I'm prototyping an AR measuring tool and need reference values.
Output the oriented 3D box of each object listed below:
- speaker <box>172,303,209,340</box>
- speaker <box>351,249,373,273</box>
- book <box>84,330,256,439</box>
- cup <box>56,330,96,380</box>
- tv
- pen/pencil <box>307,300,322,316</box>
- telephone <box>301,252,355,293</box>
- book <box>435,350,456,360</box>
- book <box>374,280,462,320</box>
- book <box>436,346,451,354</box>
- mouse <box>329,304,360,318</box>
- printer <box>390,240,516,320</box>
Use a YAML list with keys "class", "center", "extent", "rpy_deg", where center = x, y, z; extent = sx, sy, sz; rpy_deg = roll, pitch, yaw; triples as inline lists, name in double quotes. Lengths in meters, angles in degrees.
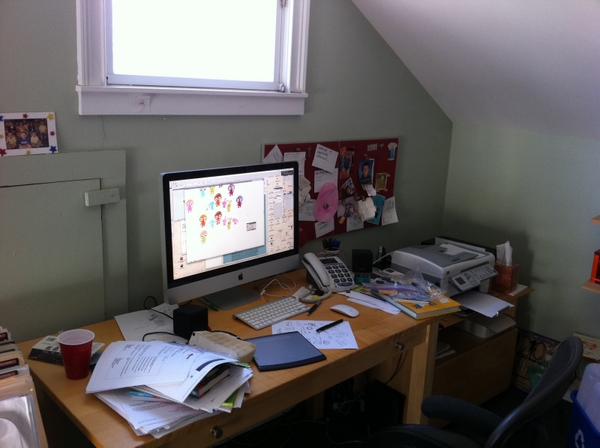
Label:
- class: "speaker"
  center: [-0.418, 0.363, 1.734]
  extent: [0.117, 0.120, 0.122]
  rpy_deg: [14, 20, 24]
- class: "speaker"
  center: [0.321, 0.184, 2.278]
  extent: [0.102, 0.107, 0.105]
  rpy_deg: [4, 8, 11]
- class: "book"
  center: [-0.443, 0.509, 1.408]
  extent: [0.509, 0.177, 0.320]
  rpy_deg: [5, 14, 20]
- class: "cup"
  center: [-0.731, 0.419, 1.495]
  extent: [0.139, 0.160, 0.144]
  rpy_deg: [0, 1, 0]
- class: "tv"
  center: [-0.324, 0.048, 1.897]
  extent: [0.580, 0.458, 0.078]
  rpy_deg: [-10, 16, -37]
- class: "pen/pencil"
  center: [0.059, 0.374, 1.956]
  extent: [0.018, 0.021, 0.144]
  rpy_deg: [14, 7, 13]
- class: "telephone"
  center: [0.138, 0.226, 2.212]
  extent: [0.235, 0.104, 0.296]
  rpy_deg: [-8, 24, -38]
- class: "book"
  center: [0.761, 0.693, 2.343]
  extent: [0.054, 0.012, 0.053]
  rpy_deg: [-10, 9, -25]
- class: "book"
  center: [0.528, 0.348, 2.064]
  extent: [0.223, 0.048, 0.215]
  rpy_deg: [-6, 16, -30]
- class: "book"
  center: [0.761, 0.669, 2.358]
  extent: [0.041, 0.012, 0.046]
  rpy_deg: [-4, 13, -15]
- class: "mouse"
  center: [0.204, 0.376, 1.937]
  extent: [0.085, 0.023, 0.055]
  rpy_deg: [12, 20, 38]
- class: "printer"
  center: [0.798, 0.184, 2.335]
  extent: [0.398, 0.180, 0.500]
  rpy_deg: [-15, 26, -39]
